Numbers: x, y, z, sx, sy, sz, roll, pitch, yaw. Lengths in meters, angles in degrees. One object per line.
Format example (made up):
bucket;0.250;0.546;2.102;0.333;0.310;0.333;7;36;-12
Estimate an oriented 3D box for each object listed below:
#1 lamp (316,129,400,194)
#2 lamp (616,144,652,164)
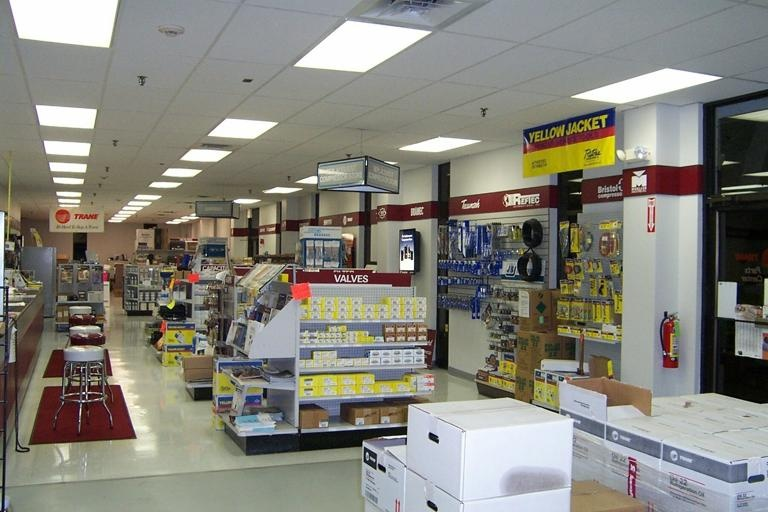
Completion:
lamp;-0.407;-1.328;8.824;1.044;0.532;0.815;3;2;43
lamp;3.356;-1.383;7.397;0.313;0.140;0.291;-2;3;-26
